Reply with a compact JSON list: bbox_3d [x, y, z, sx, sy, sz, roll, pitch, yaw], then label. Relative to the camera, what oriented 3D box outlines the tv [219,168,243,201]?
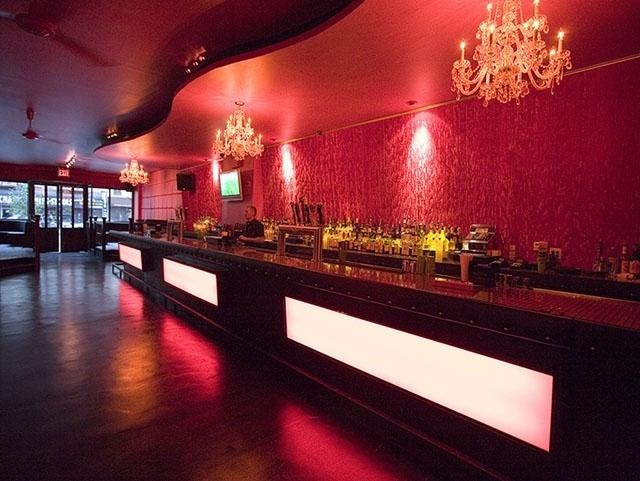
[{"bbox_3d":[-2.003,-1.203,9.726,0.073,0.644,0.907,-4,8,19],"label":"tv"}]

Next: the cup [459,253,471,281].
[{"bbox_3d":[1.143,0.210,3.496,0.084,0.189,0.193,4,14,19],"label":"cup"}]

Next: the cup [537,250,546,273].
[{"bbox_3d":[2.208,0.206,4.447,0.065,0.180,0.123,3,13,15],"label":"cup"}]

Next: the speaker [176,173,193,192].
[{"bbox_3d":[-3.566,-1.541,11.755,0.434,0.464,0.152,1,0,10],"label":"speaker"}]

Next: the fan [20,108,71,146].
[{"bbox_3d":[-5.320,-2.115,8.447,0.890,0.399,0.947,9,9,21],"label":"fan"}]

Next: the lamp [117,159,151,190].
[{"bbox_3d":[-4.571,-1.743,11.053,0.620,0.868,0.621,-8,-9,44],"label":"lamp"}]
